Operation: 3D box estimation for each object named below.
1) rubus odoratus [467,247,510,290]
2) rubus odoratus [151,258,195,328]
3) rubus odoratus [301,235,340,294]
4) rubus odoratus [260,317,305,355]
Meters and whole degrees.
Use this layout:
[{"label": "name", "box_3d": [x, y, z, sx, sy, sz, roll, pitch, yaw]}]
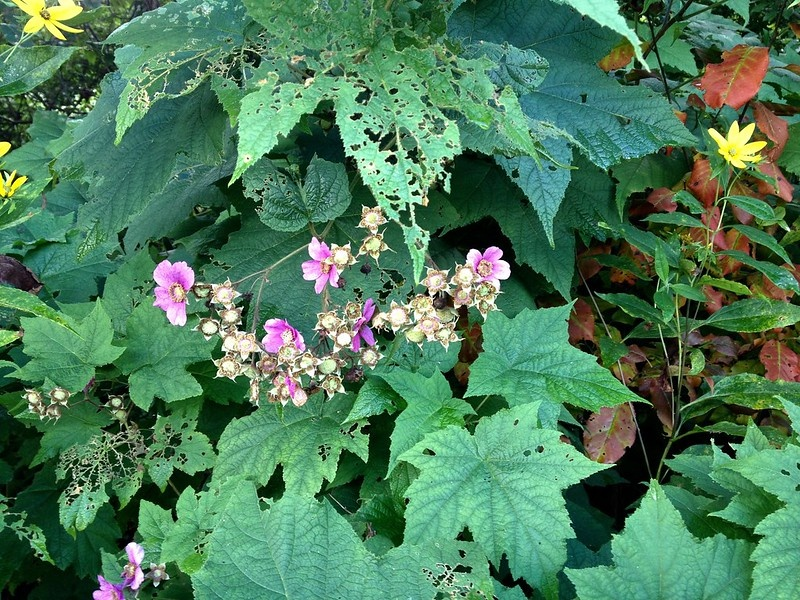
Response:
[{"label": "rubus odoratus", "box_3d": [0.272, -0.101, 1.986, 0.102, 0.134, 0.172, 4, -2, 26]}, {"label": "rubus odoratus", "box_3d": [-0.670, -0.023, 1.995, 0.123, 0.171, 0.102, 5, -2, -6]}, {"label": "rubus odoratus", "box_3d": [-0.231, -0.104, 1.961, 0.149, 0.147, 0.069, 18, 22, 13]}, {"label": "rubus odoratus", "box_3d": [-0.330, 0.106, 1.910, 0.113, 0.079, 0.071, 5, -2, -14]}]
